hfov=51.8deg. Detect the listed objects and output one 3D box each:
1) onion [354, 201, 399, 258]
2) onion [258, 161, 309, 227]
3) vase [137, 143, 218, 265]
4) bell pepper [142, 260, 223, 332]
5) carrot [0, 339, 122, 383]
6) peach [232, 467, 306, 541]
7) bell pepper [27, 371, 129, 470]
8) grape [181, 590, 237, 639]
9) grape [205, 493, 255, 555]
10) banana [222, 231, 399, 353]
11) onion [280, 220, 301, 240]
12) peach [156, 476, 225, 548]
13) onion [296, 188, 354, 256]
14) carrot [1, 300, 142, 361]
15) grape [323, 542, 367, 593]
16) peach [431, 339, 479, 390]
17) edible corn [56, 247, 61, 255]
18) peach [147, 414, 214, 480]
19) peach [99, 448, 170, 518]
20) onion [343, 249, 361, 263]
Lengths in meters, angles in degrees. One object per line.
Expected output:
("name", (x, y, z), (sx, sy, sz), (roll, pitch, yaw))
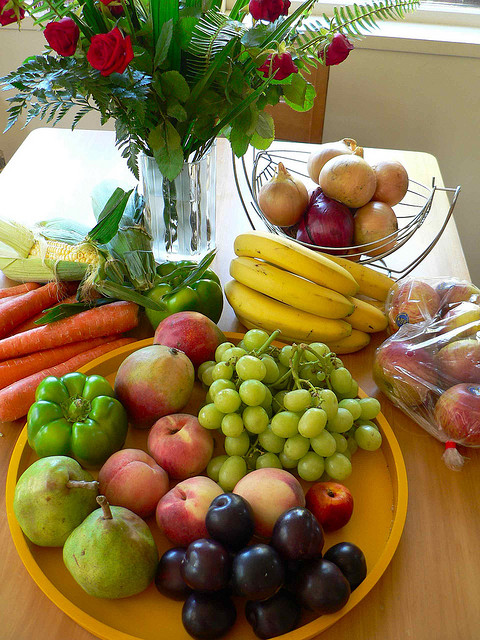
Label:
("onion", (0.254, -0.179, 0.935), (0.074, 0.097, 0.081), (6, 29, 13))
("onion", (0.083, -0.236, 0.963), (0.098, 0.118, 0.099), (3, -10, -24))
("vase", (-0.117, -0.213, 0.961), (0.129, 0.189, 0.125), (-3, 10, -18))
("bell pepper", (-0.084, -0.066, 0.917), (0.115, 0.133, 0.177), (-25, 35, -38))
("carrot", (-0.277, 0.063, 0.801), (0.196, 0.043, 0.038), (-17, 27, -19))
("peach", (0.030, 0.196, 0.520), (0.069, 0.046, 0.065), (-20, 30, -31))
("bell pepper", (-0.207, 0.132, 0.632), (0.114, 0.083, 0.120), (14, 46, 10))
("grape", (-0.028, 0.273, 0.459), (0.050, 0.027, 0.036), (-1, 46, -5))
("grape", (-0.004, 0.195, 0.494), (0.050, 0.062, 0.054), (-2, 1, 5))
("banana", (0.113, -0.069, 0.881), (0.312, 0.187, 0.130), (21, 48, 8))
("onion", (0.104, -0.176, 0.983), (0.028, 0.032, 0.020), (-14, 61, -11))
("peach", (-0.052, 0.213, 0.578), (0.070, 0.073, 0.071), (-13, 29, -8))
("onion", (0.162, -0.182, 0.972), (0.094, 0.123, 0.097), (11, 32, 23))
("carrot", (-0.281, 0.019, 0.817), (0.193, 0.039, 0.044), (-17, 12, -18))
("grape", (0.104, 0.244, 0.484), (0.049, 0.029, 0.055), (3, 29, 10))
("peach", (0.307, 0.062, 0.694), (0.058, 0.065, 0.065), (-17, 22, 8))
("edible corn", (-0.333, -0.127, 0.911), (0.003, 0.011, 0.008), (18, -12, -30))
("peach", (-0.078, 0.169, 0.653), (0.083, 0.088, 0.087), (-11, 39, -22))
("peach", (-0.126, 0.191, 0.589), (0.082, 0.057, 0.075), (3, 45, -1))
("onion", (0.227, -0.127, 0.979), (0.022, 0.027, 0.015), (-4, 70, -5))
